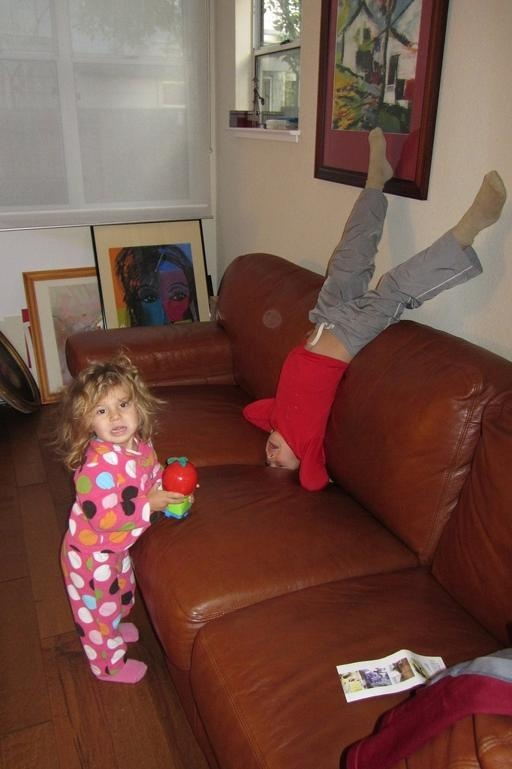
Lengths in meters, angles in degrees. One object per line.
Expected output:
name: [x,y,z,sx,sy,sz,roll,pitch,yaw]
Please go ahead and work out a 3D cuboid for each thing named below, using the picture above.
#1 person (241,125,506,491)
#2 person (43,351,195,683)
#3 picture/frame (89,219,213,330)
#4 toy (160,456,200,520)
person: [0.348,-0.109,1.896,0.361,1.248,0.659,11,21,-31]
person: [-0.371,0.399,1.518,0.346,0.859,0.331,2,13,5]
picture/frame: [-0.689,-0.680,3.375,0.697,0.744,0.032,-12,15,-16]
toy: [-0.218,0.282,1.503,0.105,0.160,0.094,14,-16,-30]
